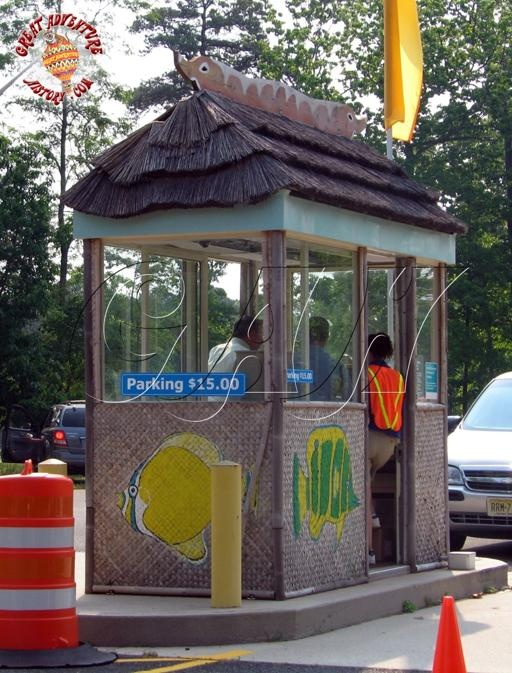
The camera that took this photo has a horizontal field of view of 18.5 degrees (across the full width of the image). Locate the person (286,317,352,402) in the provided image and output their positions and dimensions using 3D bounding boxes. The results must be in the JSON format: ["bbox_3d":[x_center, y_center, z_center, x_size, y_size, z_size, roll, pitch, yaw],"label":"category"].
[{"bbox_3d":[0.521,0.159,11.536,0.135,0.621,0.710,-1,-1,21],"label":"person"}]

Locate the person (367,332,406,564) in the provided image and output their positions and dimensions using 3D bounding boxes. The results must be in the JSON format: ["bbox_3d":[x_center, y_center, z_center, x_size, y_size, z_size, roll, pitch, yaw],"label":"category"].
[{"bbox_3d":[1.044,0.561,12.565,0.296,1.183,0.644,-1,-1,5],"label":"person"}]
